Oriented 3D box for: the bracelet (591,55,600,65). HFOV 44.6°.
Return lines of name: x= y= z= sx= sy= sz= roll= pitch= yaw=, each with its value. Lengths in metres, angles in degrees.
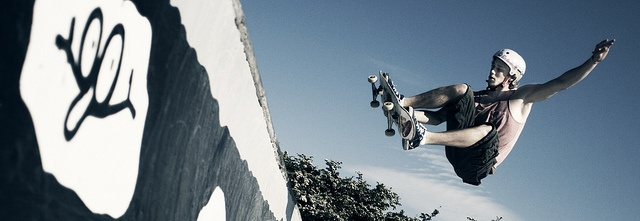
bracelet: x=7.453 y=-1.371 z=21.067 sx=0.309 sy=0.203 sz=0.206 roll=-3 pitch=0 yaw=14
